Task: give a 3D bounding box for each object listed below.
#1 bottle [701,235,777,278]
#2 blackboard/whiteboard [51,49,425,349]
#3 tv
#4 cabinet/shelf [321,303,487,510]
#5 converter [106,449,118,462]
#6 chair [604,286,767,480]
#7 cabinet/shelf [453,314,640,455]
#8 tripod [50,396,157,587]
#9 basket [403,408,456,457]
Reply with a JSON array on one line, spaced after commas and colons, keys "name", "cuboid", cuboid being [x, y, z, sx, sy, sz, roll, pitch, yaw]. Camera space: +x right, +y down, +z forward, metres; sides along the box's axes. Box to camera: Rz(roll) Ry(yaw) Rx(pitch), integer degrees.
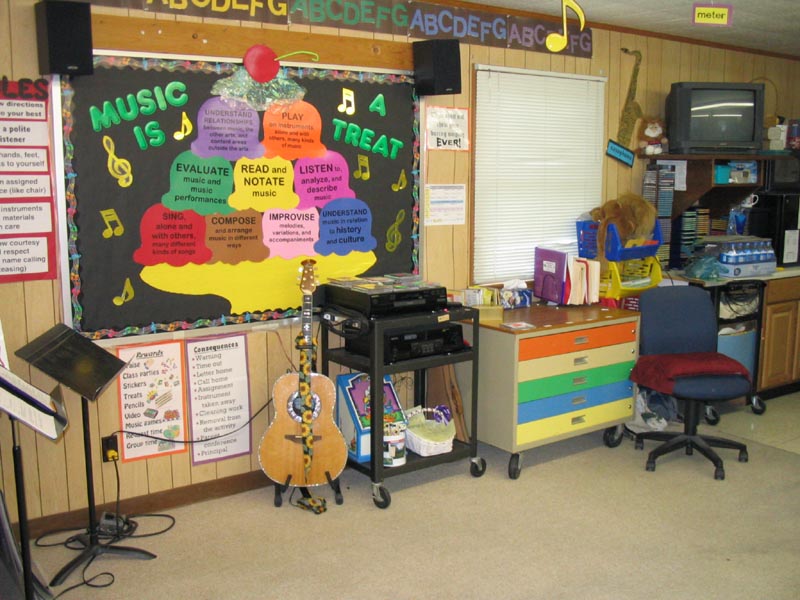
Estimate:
[{"name": "bottle", "cuboid": [2.792, -0.372, 5.676, 0.661, 0.321, 0.399, -6, 13, -26]}, {"name": "blackboard/whiteboard", "cuboid": [-0.823, -0.584, 4.090, 2.134, 1.521, 0.039, -6, 15, -28]}, {"name": "tv", "cuboid": [2.708, -1.512, 5.836, 0.676, 0.616, 0.473, 1, -1, 3]}, {"name": "cabinet/shelf", "cuboid": [0.063, 0.576, 4.386, 0.887, 1.143, 0.819, -10, 13, -43]}, {"name": "converter", "cuboid": [-1.594, 0.863, 3.769, 0.070, 0.068, 0.018, -1, 11, -29]}, {"name": "chair", "cuboid": [1.969, 0.524, 4.651, 0.833, 1.210, 0.775, -6, 6, -42]}, {"name": "cabinet/shelf", "cuboid": [1.094, 0.516, 4.809, 1.109, 0.770, 0.566, -6, 13, -29]}, {"name": "tripod", "cuboid": [-1.568, 0.894, 3.490, 0.485, 0.843, 0.538, -6, 13, -29]}, {"name": "basket", "cuboid": [0.197, 0.855, 4.384, 0.315, 0.161, 0.398, -5, 16, -25]}]
